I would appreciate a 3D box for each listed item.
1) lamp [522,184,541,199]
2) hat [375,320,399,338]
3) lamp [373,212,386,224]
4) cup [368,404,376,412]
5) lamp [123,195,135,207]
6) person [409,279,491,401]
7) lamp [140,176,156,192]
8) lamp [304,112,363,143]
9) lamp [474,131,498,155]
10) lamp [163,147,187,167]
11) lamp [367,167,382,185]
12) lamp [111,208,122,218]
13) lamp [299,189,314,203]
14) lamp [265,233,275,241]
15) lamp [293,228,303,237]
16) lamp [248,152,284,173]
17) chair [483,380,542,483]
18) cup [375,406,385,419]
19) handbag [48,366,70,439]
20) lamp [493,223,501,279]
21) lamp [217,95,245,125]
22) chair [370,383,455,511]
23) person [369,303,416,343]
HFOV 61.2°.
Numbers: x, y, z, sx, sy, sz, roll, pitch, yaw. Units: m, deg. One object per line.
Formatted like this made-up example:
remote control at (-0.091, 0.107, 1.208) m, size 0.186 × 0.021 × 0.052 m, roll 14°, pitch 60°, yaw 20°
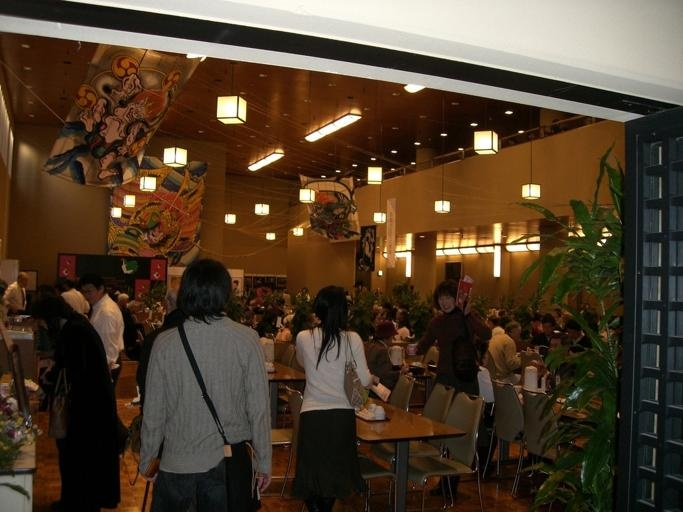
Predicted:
lamp at (3.701, -1.245, 11.321) m, size 0.301 × 0.363 × 0.328 m, roll -1°, pitch -2°, yaw -6°
hat at (0.458, 0.799, 6.180) m, size 0.201 × 0.204 × 0.286 m, roll 2°, pitch -1°, yaw 4°
lamp at (1.069, -1.099, 16.690) m, size 0.311 × 0.348 × 0.333 m, roll 2°, pitch 4°, yaw 20°
cup at (0.234, 1.212, 4.597) m, size 0.033 × 0.051 × 0.049 m, roll 2°, pitch -6°, yaw -20°
lamp at (-6.398, -1.665, 17.435) m, size 0.334 × 0.366 × 0.352 m, roll 2°, pitch -13°, yaw -14°
person at (1.067, 1.102, 5.497) m, size 0.740 × 1.669 × 0.535 m, roll -6°, pitch -1°, yaw 14°
lamp at (-4.811, -1.821, 14.386) m, size 0.475 × 0.324 × 0.238 m, roll 1°, pitch -1°, yaw 37°
lamp at (-0.190, -2.589, 11.518) m, size 0.370 × 0.284 × 1.887 m, roll 2°, pitch -2°, yaw -25°
lamp at (2.477, -1.979, 9.938) m, size 0.373 × 0.407 × 0.418 m, roll 2°, pitch -1°, yaw 8°
lamp at (-3.171, -1.919, 11.045) m, size 0.345 × 0.322 × 0.637 m, roll 2°, pitch -1°, yaw -10°
lamp at (0.729, -1.793, 12.787) m, size 0.258 × 0.385 × 0.664 m, roll 1°, pitch -1°, yaw 9°
lamp at (-7.235, -1.386, 18.613) m, size 0.295 × 0.333 × 0.316 m, roll 2°, pitch -7°, yaw -12°
lamp at (-0.981, -1.651, 15.909) m, size 0.359 × 0.398 × 0.386 m, roll 0°, pitch -8°, yaw 2°
lamp at (-2.996, -0.768, 24.695) m, size 0.353 × 0.402 × 0.362 m, roll -2°, pitch 7°, yaw -19°
lamp at (-1.742, -0.922, 23.167) m, size 0.345 × 0.396 × 0.371 m, roll 2°, pitch 5°, yaw 17°
lamp at (-2.527, -3.138, 19.238) m, size 0.255 × 0.126 × 1.498 m, roll 22°, pitch -15°, yaw -22°
chair at (1.719, 1.667, 5.576) m, size 0.585 × 0.913 × 0.555 m, roll 2°, pitch -3°, yaw -43°
cup at (0.299, 1.231, 4.554) m, size 0.076 × 0.084 × 0.081 m, roll -1°, pitch 0°, yaw 0°
handbag at (-2.115, 1.128, 4.335) m, size 0.122 × 0.510 × 0.134 m, roll 2°, pitch -1°, yaw -29°
lamp at (4.888, 0.210, 18.183) m, size 0.216 × 0.244 × 1.523 m, roll -7°, pitch 39°, yaw 22°
lamp at (-1.621, -2.064, 8.318) m, size 0.415 × 0.480 × 0.441 m, roll -1°, pitch 0°, yaw 5°
chair at (0.494, 1.380, 4.423) m, size 0.561 × 0.633 × 1.172 m, roll -2°, pitch 3°, yaw -13°
person at (0.919, 1.106, 9.517) m, size 0.571 × 0.871 × 0.826 m, roll 5°, pitch 7°, yaw 40°
